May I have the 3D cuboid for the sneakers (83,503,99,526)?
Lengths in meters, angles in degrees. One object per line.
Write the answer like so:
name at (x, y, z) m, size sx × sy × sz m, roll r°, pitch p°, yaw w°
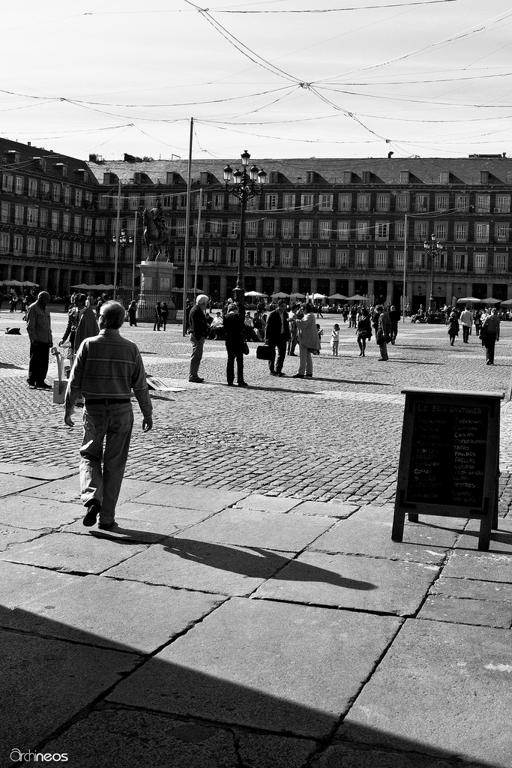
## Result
sneakers at (-1.091, 0.857, 4.656) m, size 0.082 × 0.197 × 0.081 m, roll 8°, pitch 24°, yaw -21°

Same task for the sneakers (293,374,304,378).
sneakers at (1.079, -0.199, 17.490) m, size 0.253 × 0.123 × 0.434 m, roll 2°, pitch 1°, yaw -4°

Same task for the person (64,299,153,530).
person at (-1.018, 0.217, 4.872) m, size 0.580 × 1.329 × 0.535 m, roll 2°, pitch 1°, yaw -15°

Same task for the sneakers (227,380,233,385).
sneakers at (-0.557, -0.019, 15.273) m, size 0.116 × 0.089 × 0.160 m, roll 2°, pitch 1°, yaw -9°

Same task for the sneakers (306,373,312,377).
sneakers at (1.331, -0.236, 17.684) m, size 0.133 × 0.125 × 0.294 m, roll 2°, pitch 1°, yaw 4°

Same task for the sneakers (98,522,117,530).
sneakers at (-1.034, 0.980, 4.888) m, size 0.132 × 0.045 × 0.077 m, roll 2°, pitch 1°, yaw -2°

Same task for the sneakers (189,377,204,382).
sneakers at (-1.317, -0.104, 15.520) m, size 0.305 × 0.149 × 0.111 m, roll 0°, pitch 8°, yaw 0°
